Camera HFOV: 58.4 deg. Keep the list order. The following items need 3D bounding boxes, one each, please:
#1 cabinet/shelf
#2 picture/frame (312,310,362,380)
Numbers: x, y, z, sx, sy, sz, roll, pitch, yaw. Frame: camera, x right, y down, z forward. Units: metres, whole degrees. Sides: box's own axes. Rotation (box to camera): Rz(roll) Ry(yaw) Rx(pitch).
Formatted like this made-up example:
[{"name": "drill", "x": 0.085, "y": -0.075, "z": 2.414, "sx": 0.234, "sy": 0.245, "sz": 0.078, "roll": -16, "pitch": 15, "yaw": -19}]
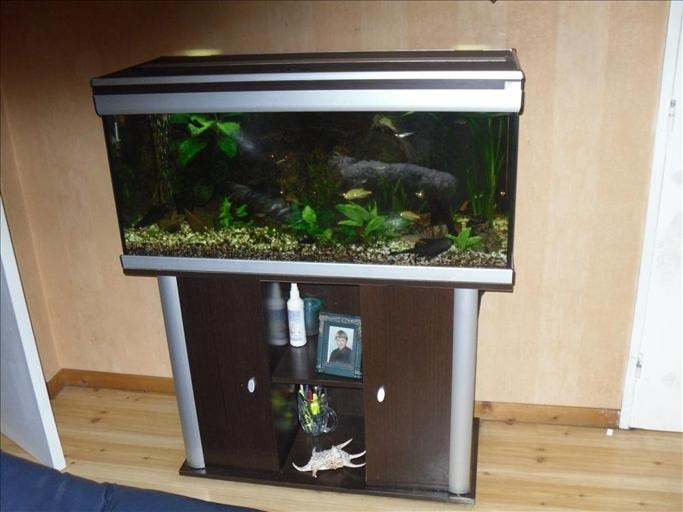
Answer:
[{"name": "cabinet/shelf", "x": -0.080, "y": 0.542, "z": 2.483, "sx": 0.844, "sy": 0.633, "sz": 0.308, "roll": 5, "pitch": 30, "yaw": 11}, {"name": "picture/frame", "x": -0.013, "y": 0.374, "z": 2.523, "sx": 0.275, "sy": 0.349, "sz": 0.037, "roll": 1, "pitch": -10, "yaw": 4}]
